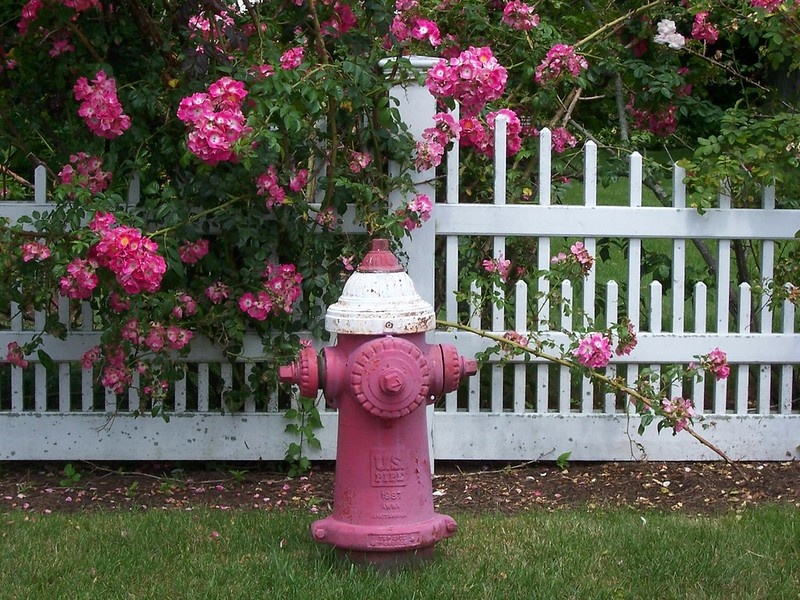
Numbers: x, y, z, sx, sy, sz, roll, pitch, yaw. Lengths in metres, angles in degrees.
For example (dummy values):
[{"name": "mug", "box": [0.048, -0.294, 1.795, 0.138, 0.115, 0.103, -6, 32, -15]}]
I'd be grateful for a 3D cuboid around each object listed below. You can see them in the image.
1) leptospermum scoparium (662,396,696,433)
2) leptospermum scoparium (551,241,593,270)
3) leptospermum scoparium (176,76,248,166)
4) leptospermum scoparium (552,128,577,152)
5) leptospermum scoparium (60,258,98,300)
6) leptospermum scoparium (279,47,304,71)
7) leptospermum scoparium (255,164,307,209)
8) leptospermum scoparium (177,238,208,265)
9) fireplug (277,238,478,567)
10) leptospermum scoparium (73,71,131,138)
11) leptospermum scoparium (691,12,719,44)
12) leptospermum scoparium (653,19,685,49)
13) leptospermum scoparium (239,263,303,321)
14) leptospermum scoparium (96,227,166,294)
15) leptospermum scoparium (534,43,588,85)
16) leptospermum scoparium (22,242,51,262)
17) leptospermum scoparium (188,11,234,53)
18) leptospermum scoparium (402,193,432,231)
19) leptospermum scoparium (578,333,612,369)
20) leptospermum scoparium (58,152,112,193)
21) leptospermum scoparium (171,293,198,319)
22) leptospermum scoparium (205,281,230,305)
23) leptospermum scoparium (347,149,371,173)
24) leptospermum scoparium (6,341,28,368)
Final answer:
[{"name": "leptospermum scoparium", "box": [1.485, 0.592, 6.596, 0.161, 0.189, 0.175, -7, 6, -8]}, {"name": "leptospermum scoparium", "box": [0.949, -0.232, 6.729, 0.160, 0.128, 0.159, 5, 39, -15]}, {"name": "leptospermum scoparium", "box": [-0.912, -0.869, 5.965, 0.328, 0.420, 0.136, -2, 9, -13]}, {"name": "leptospermum scoparium", "box": [0.965, -0.938, 7.207, 0.134, 0.165, 0.145, -1, 2, -1]}, {"name": "leptospermum scoparium", "box": [-1.602, -0.101, 6.161, 0.169, 0.207, 0.193, 3, 20, -3]}, {"name": "leptospermum scoparium", "box": [-0.555, -1.236, 6.326, 0.124, 0.130, 0.062, -20, -19, 8]}, {"name": "leptospermum scoparium", "box": [-0.613, -0.597, 6.412, 0.295, 0.212, 0.168, -3, 10, -17]}, {"name": "leptospermum scoparium", "box": [-1.103, -0.260, 6.515, 0.149, 0.117, 0.049, -2, 9, -9]}, {"name": "fireplug", "box": [-0.090, 0.460, 5.532, 0.793, 1.423, 0.379, 0, 9, 3]}, {"name": "leptospermum scoparium", "box": [-1.550, -1.007, 6.370, 0.226, 0.385, 0.203, -15, 14, -6]}, {"name": "leptospermum scoparium", "box": [1.816, -1.621, 7.286, 0.160, 0.173, 0.257, 0, 10, 1]}, {"name": "leptospermum scoparium", "box": [1.609, -1.578, 7.256, 0.201, 0.171, 0.131, -1, 9, -2]}, {"name": "leptospermum scoparium", "box": [-0.675, -0.042, 6.347, 0.274, 0.320, 0.191, -13, 4, -3]}, {"name": "leptospermum scoparium", "box": [-1.333, -0.195, 6.036, 0.329, 0.326, 0.071, 0, 9, 1]}, {"name": "leptospermum scoparium", "box": [0.899, -1.335, 6.941, 0.212, 0.210, 0.236, -8, 23, 5]}, {"name": "leptospermum scoparium", "box": [-1.861, -0.244, 6.283, 0.103, 0.084, 0.112, 1, 0, 5]}, {"name": "leptospermum scoparium", "box": [-0.985, -1.396, 6.371, 0.241, 0.216, 0.405, -2, 10, -8]}, {"name": "leptospermum scoparium", "box": [0.085, -0.458, 6.477, 0.162, 0.193, 0.149, -1, 9, -5]}, {"name": "leptospermum scoparium", "box": [1.041, 0.276, 6.604, 0.192, 0.196, 0.116, 1, 9, 9]}, {"name": "leptospermum scoparium", "box": [-1.695, -0.680, 6.543, 0.286, 0.213, 0.244, -1, 9, -6]}, {"name": "leptospermum scoparium", "box": [-1.139, 0.035, 6.472, 0.104, 0.139, 0.168, 1, 9, 9]}, {"name": "leptospermum scoparium", "box": [-0.973, -0.038, 6.503, 0.098, 0.115, 0.053, 4, 2, -11]}, {"name": "leptospermum scoparium", "box": [-0.213, -0.732, 6.513, 0.118, 0.117, 0.115, -1, 9, -4]}, {"name": "leptospermum scoparium", "box": [-2.110, 0.319, 6.722, 0.112, 0.162, 0.226, -3, 10, -18]}]
